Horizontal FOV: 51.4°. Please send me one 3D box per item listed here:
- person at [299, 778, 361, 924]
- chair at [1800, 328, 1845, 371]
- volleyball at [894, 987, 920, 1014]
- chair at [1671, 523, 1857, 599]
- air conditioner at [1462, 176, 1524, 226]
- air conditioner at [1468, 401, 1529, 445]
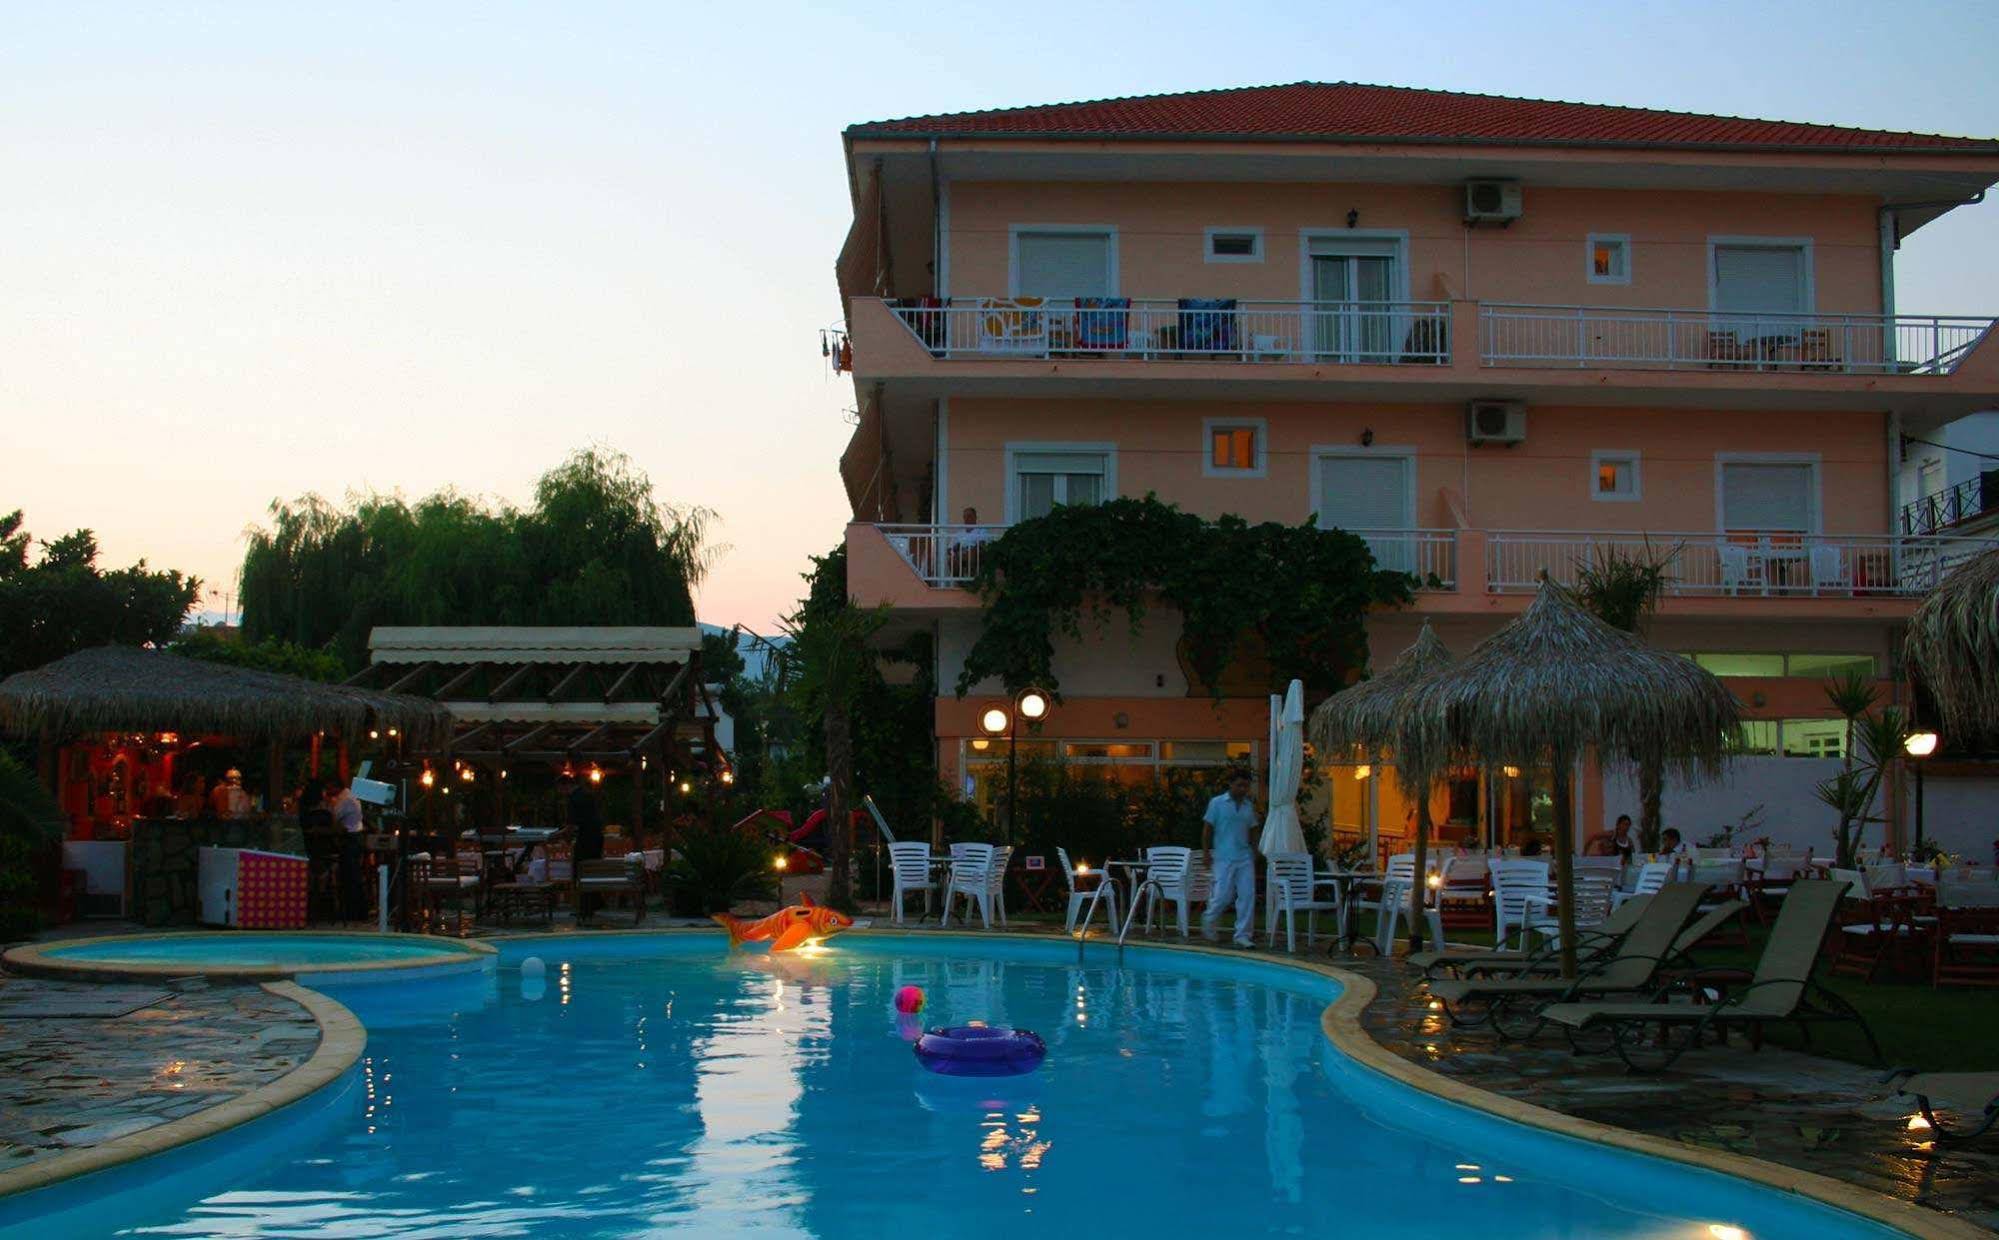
[{"bbox_3d":[-12.520,4.257,38.694,0.583,2.635,1.318,-4,-6,39],"label":"person"},{"bbox_3d":[17.631,-5.828,44.257,1.060,1.080,0.847,1,1,4],"label":"chair"},{"bbox_3d":[-1.489,6.008,32.776,0.354,0.359,0.368,2,5,9],"label":"volleyball"},{"bbox_3d":[15.932,-1.173,43.323,3.772,1.426,0.909,-1,-5,3],"label":"chair"},{"bbox_3d":[10.527,-8.919,44.159,1.499,1.177,0.831,0,0,4],"label":"air conditioner"},{"bbox_3d":[10.531,-4.154,44.017,1.248,0.973,0.786,0,-2,2],"label":"air conditioner"}]
